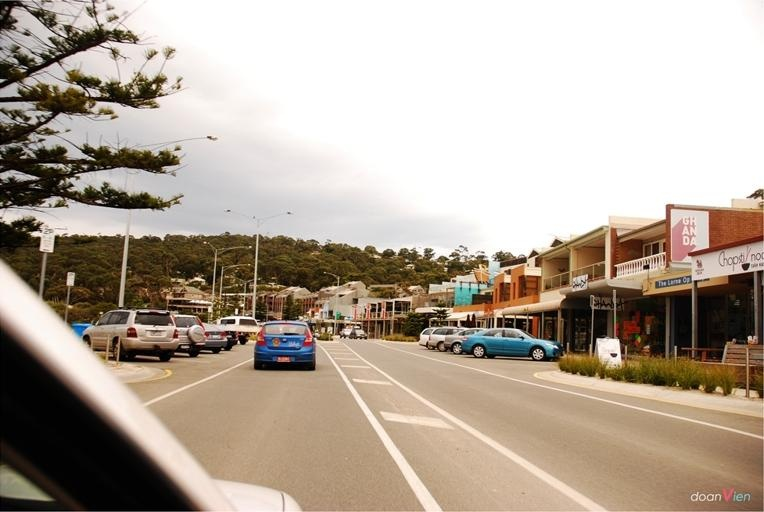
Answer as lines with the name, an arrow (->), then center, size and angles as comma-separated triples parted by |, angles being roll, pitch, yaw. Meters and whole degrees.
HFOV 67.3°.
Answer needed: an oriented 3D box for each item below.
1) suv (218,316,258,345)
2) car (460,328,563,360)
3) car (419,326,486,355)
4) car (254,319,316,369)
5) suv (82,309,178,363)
suv -> -9.485, 4.662, 37.360 | 1.545, 1.140, 2.712 | 5, -3, -37
car -> 7.178, 4.927, 31.905 | 5.201, 1.428, 1.997 | -2, -10, 13
car -> 3.996, 5.718, 39.352 | 4.612, 1.338, 1.906 | -3, -8, 14
car -> -3.180, 2.822, 18.557 | 1.347, 0.882, 2.122 | 1, -3, -4
suv -> -9.362, 2.728, 20.592 | 3.989, 1.428, 2.701 | 2, -7, 33
